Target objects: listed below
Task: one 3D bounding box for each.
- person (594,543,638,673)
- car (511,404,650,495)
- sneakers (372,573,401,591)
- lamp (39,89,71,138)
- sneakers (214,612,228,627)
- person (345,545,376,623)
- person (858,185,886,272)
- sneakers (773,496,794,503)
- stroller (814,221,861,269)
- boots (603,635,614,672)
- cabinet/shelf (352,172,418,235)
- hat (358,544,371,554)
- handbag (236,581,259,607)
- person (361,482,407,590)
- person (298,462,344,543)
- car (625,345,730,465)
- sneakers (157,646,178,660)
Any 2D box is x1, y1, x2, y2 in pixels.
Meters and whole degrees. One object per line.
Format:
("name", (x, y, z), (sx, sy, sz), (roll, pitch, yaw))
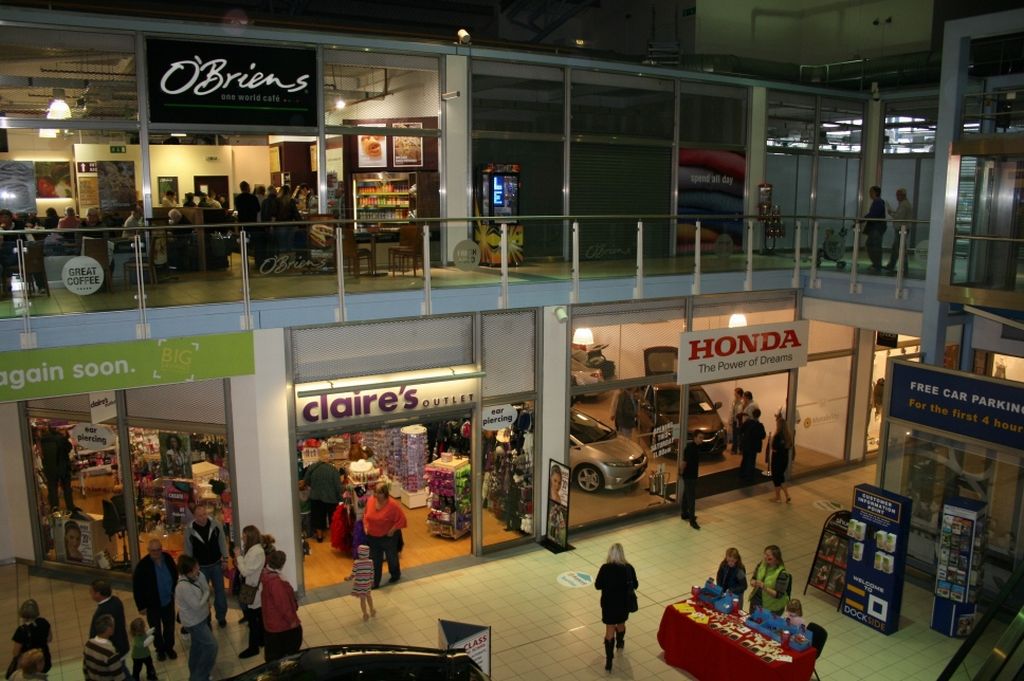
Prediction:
("person", (1.632, 4.120, 12.241), (0.694, 1.886, 0.617), (-6, 9, -22))
("car", (1.470, 2.236, 16.021), (2.457, 0.999, 1.385), (7, 14, 14))
("sneakers", (-2.240, 4.310, 13.759), (0.587, 0.118, 0.245), (-8, 10, -38))
("lamp", (-8.057, -3.990, 13.572), (0.553, 0.797, 0.375), (3, 10, 34))
("sneakers", (-4.831, 4.647, 12.836), (0.108, 0.119, 0.295), (-3, 6, -35))
("person", (-2.518, 3.990, 13.067), (0.369, 1.276, 0.550), (-5, 8, -12))
("person", (7.576, -2.311, 16.151), (0.462, 1.716, 1.478), (1, 9, 25))
("sneakers", (5.931, 3.473, 16.900), (0.420, 0.116, 0.247), (-1, 8, 10))
("stroller", (7.004, -2.026, 16.617), (0.807, 0.862, 0.711), (-9, 32, -17))
("boots", (1.533, 4.848, 12.145), (0.167, 0.481, 0.407), (-2, 8, 5))
("cabinet/shelf", (-2.603, -2.874, 16.166), (1.826, 1.625, 0.600), (8, 15, 36))
("hat", (-2.473, 3.487, 12.906), (0.196, 0.180, 0.240), (2, 11, 1))
("handbag", (-4.113, 3.975, 12.045), (0.361, 0.339, 0.083), (0, 1, 7))
("person", (-2.255, 3.415, 13.691), (0.664, 1.965, 0.533), (-6, 9, -20))
("person", (-3.631, 3.114, 15.003), (0.732, 1.626, 0.445), (-1, 8, 13))
("car", (3.590, 1.384, 17.023), (1.854, 2.993, 1.393), (-7, -7, -10))
("sneakers", (-5.456, 4.941, 12.186), (0.263, 0.242, 0.122), (15, 23, 26))
